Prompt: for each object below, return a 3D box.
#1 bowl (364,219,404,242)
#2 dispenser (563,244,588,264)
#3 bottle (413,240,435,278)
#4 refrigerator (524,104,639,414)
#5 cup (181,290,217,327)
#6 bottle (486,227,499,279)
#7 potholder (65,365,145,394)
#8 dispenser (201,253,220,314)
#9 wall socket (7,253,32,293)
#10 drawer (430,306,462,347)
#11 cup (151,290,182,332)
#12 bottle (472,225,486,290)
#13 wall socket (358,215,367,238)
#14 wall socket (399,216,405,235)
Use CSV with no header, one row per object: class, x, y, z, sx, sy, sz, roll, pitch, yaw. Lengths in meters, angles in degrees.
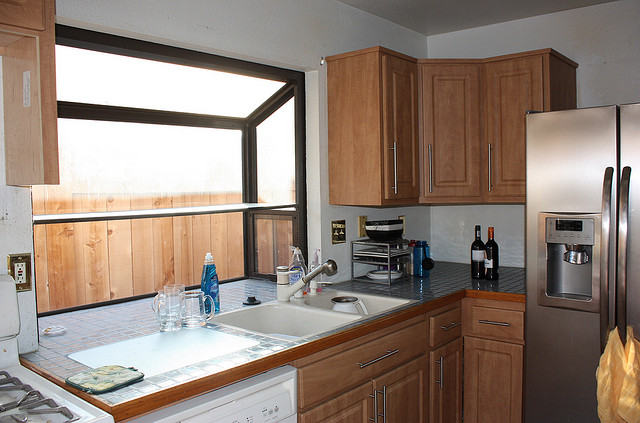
bowl,0.454,0.139,3.206,0.298,0.159,0.192,2,7,20
dispenser,1.521,0.251,2.584,0.123,0.118,0.124,-1,-1,11
bottle,0.800,0.368,3.379,0.150,0.258,0.254,1,6,12
refrigerator,1.549,0.346,2.589,0.600,1.914,0.215,5,8,40
cup,-0.657,0.526,2.297,0.201,0.168,0.127,-1,-8,-19
bottle,1.264,0.308,3.178,0.084,0.368,0.083,-1,6,0
potholder,-0.842,0.653,1.678,0.211,0.022,0.213,5,8,40
dispenser,-0.622,0.410,2.416,0.096,0.331,0.126,-2,7,-16
wall socket,-1.375,0.281,1.971,0.090,0.175,0.038,-5,8,-33
drawer,0.798,0.744,2.769,0.194,0.180,0.308,-2,-1,37
cup,-0.796,0.500,2.208,0.183,0.203,0.096,3,7,27
bottle,1.152,0.315,3.132,0.099,0.396,0.443,2,7,21
wall socket,0.329,0.117,3.344,0.033,0.169,0.117,4,8,36
wall socket,0.693,0.122,3.662,0.034,0.155,0.086,5,9,42
